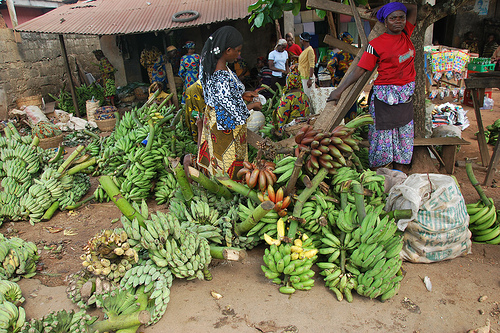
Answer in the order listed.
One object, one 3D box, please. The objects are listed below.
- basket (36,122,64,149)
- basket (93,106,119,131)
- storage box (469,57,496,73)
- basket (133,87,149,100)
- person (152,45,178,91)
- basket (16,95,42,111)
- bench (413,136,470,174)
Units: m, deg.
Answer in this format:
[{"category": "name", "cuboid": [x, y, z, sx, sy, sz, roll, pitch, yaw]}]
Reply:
[{"category": "basket", "cuboid": [-4.489, -0.690, 8.405, 0.537, 0.405, 0.565, -1, 23, -15]}, {"category": "basket", "cuboid": [-3.751, -1.234, 9.766, 0.673, 0.460, 0.749, -6, 49, -5]}, {"category": "storage box", "cuboid": [6.541, -2.835, 10.666, 0.529, 0.454, 0.892, 1, 25, 8]}, {"category": "basket", "cuboid": [-3.936, -2.634, 13.559, 0.448, 0.305, 0.481, 9, 29, 18]}, {"category": "person", "cuboid": [-2.943, -2.952, 12.637, 0.602, 0.545, 1.992, -4, 67, -21]}, {"category": "basket", "cuboid": [-6.570, -1.980, 11.241, 0.559, 0.382, 0.579, 0, 16, 42]}, {"category": "bench", "cuboid": [3.180, -0.188, 6.385, 0.851, 0.620, 0.349, -10, 24, -15]}]
